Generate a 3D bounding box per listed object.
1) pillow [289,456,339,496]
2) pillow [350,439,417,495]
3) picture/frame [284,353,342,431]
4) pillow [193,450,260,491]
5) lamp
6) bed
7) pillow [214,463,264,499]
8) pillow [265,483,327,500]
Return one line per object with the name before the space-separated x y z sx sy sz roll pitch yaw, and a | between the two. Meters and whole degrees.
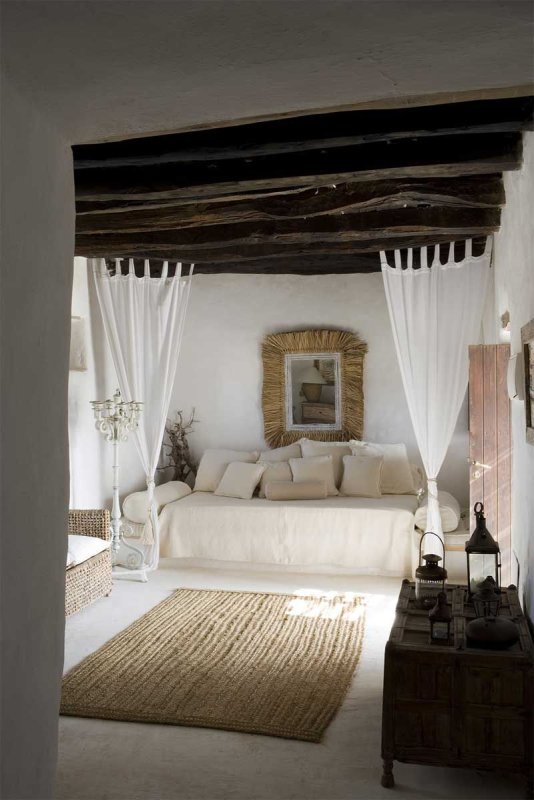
pillow | 0.378 0.626 5.292 0.283 0.281 0.107 -6 -42 1
pillow | 0.963 0.577 5.469 0.545 0.587 0.195 15 -43 5
picture/frame | 0.447 -0.100 5.956 0.716 0.952 0.053 -1 0 11
pillow | -0.419 0.646 5.837 0.407 0.404 0.122 -2 -32 34
lamp | -1.092 0.586 4.840 0.334 1.081 0.860 -1 0 -12
bed | 0.236 0.873 5.149 2.442 0.646 1.134 -1 0 9
pillow | -0.211 0.656 5.389 0.316 0.299 0.098 5 -27 37
pillow | 0.227 0.717 5.108 0.417 0.143 0.141 -1 -17 3
